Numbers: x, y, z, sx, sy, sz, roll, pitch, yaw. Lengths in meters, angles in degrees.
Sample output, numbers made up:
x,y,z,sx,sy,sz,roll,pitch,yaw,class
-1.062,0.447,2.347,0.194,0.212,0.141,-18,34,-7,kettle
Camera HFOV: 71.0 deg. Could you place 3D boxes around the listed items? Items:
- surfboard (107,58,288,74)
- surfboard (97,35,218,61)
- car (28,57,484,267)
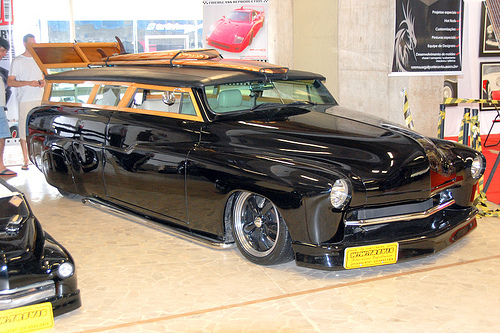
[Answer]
x,y,z,sx,sy,sz,roll,pitch,yaw,class
-0.505,-1.419,4.864,3.226,0.134,0.666,1,22,9,surfboard
-1.634,-1.703,5.434,2.124,0.323,1.018,0,13,10,surfboard
-0.572,-0.640,5.709,6.821,1.573,3.498,18,24,40,car
